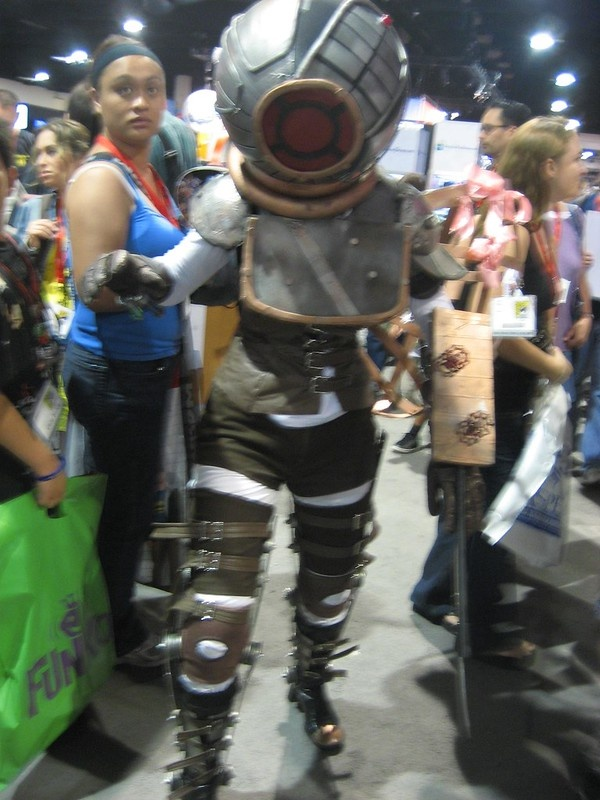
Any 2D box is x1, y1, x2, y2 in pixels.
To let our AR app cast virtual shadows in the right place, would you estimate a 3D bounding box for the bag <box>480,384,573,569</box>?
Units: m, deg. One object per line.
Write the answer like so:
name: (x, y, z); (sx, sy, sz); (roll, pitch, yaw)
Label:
bag: (0.673, 0.260, 1.828); (0.205, 0.602, 0.493); (9, 12, 24)
